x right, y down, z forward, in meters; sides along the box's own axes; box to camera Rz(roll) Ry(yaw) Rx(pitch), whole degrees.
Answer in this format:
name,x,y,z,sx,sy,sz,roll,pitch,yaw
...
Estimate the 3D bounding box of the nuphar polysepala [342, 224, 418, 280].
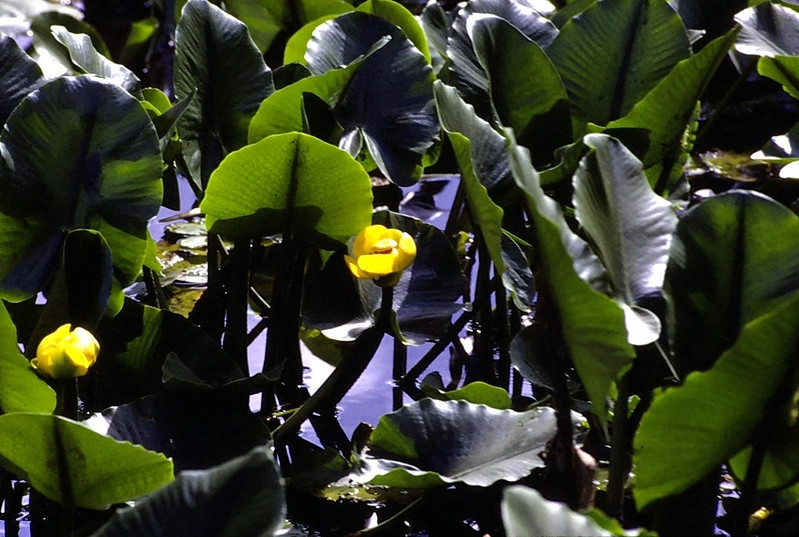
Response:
name,x,y,z,sx,sy,sz,roll,pitch,yaw
nuphar polysepala,-0.017,-0.009,1.054,0.072,0.043,0.078,-11,0,-9
